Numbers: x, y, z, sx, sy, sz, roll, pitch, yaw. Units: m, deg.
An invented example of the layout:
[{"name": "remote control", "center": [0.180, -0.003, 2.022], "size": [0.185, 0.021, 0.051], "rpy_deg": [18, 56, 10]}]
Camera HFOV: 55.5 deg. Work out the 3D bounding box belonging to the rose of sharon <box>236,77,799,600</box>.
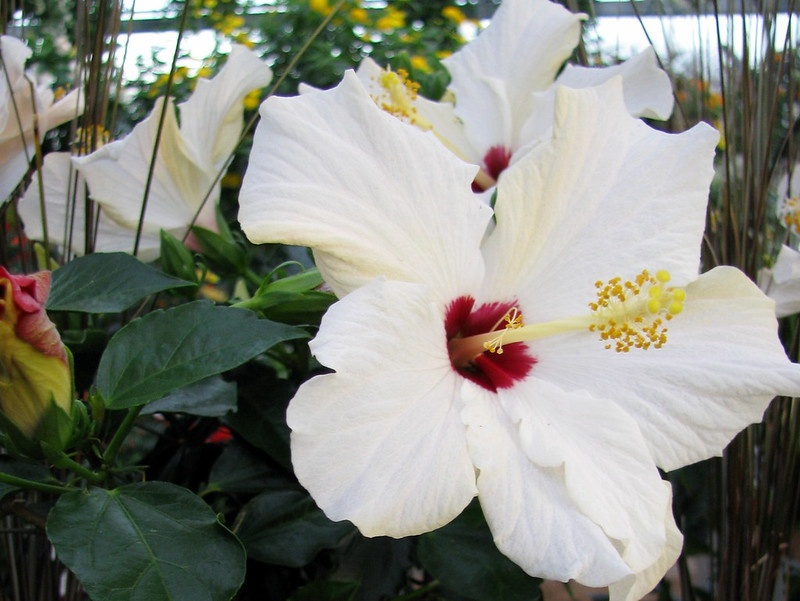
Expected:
[{"name": "rose of sharon", "center": [0.146, 0.094, 1.149], "size": [0.744, 0.774, 0.302], "rpy_deg": [1, -26, -12]}]
